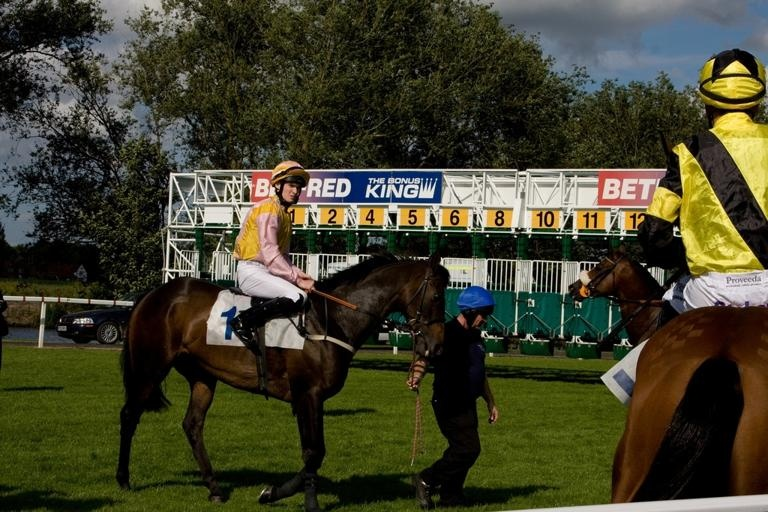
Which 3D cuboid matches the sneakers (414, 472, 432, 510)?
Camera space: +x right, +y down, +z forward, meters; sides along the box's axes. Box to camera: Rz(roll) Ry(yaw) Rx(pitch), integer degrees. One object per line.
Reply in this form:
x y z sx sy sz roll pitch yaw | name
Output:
0.428 2.631 10.913 0.165 0.392 0.138 -15 -11 19 | sneakers

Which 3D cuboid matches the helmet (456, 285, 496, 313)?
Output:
1.056 0.497 11.128 0.335 0.236 0.270 9 -1 2 | helmet
